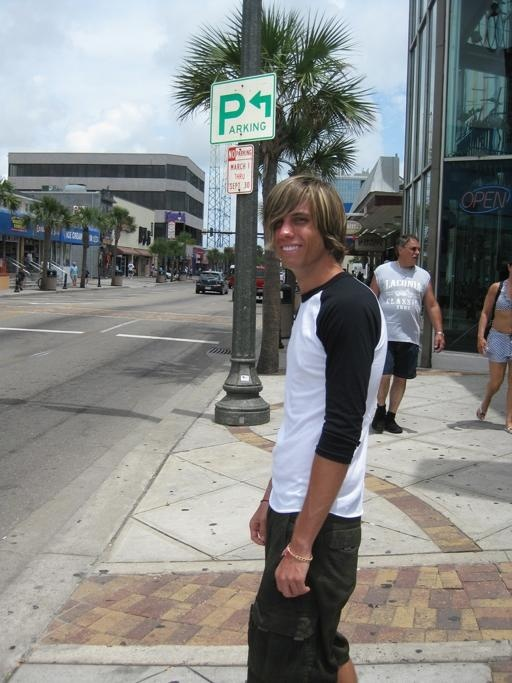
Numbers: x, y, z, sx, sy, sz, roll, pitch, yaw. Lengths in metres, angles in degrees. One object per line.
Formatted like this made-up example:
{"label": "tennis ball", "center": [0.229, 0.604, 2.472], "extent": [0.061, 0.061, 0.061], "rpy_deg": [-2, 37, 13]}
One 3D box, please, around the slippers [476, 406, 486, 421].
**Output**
{"label": "slippers", "center": [2.379, 0.750, 6.990], "extent": [0.054, 0.142, 0.108], "rpy_deg": [13, -25, -1]}

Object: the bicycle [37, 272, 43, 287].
{"label": "bicycle", "center": [-13.533, -3.678, 41.857], "extent": [0.343, 0.814, 2.654], "rpy_deg": [-3, 5, -18]}

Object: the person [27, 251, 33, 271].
{"label": "person", "center": [-17.686, -6.365, 52.152], "extent": [0.372, 1.498, 2.759], "rpy_deg": [-3, 5, -17]}

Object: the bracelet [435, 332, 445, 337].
{"label": "bracelet", "center": [1.892, -0.079, 6.889], "extent": [0.104, 0.044, 0.118], "rpy_deg": [1, -18, 9]}

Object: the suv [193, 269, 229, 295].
{"label": "suv", "center": [-3.060, -3.998, 45.456], "extent": [1.805, 1.633, 2.745], "rpy_deg": [-1, 5, 2]}

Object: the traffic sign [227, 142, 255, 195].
{"label": "traffic sign", "center": [-0.165, -1.767, 6.887], "extent": [0.280, 0.507, 0.291], "rpy_deg": [-1, 5, -3]}

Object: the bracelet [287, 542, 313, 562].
{"label": "bracelet", "center": [0.101, 0.484, 1.550], "extent": [0.046, 0.026, 0.042], "rpy_deg": [13, -12, 40]}

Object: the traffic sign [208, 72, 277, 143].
{"label": "traffic sign", "center": [-0.137, -2.328, 6.685], "extent": [0.759, 0.637, 0.090], "rpy_deg": [2, 6, 31]}
